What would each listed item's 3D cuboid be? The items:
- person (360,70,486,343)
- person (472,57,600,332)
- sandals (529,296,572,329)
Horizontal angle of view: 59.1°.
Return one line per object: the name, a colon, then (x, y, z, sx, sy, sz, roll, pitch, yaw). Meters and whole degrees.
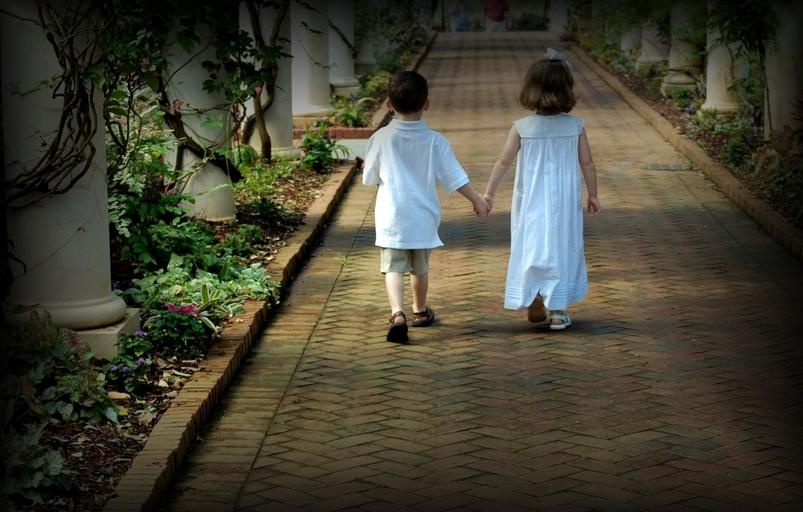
person: (0.126, -0.405, 5.784, 0.839, 2.143, 0.773, -4, 20, -3)
person: (1.154, -0.507, 5.819, 0.760, 2.274, 0.654, -19, 25, -38)
sandals: (1.267, 0.497, 6.092, 0.195, 0.191, 0.511, -1, 7, 14)
